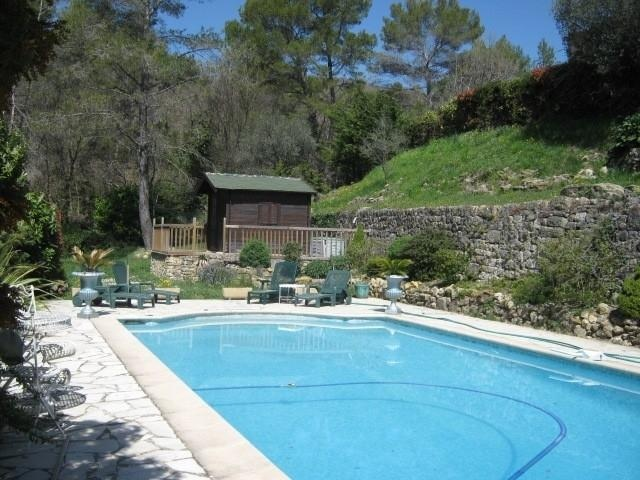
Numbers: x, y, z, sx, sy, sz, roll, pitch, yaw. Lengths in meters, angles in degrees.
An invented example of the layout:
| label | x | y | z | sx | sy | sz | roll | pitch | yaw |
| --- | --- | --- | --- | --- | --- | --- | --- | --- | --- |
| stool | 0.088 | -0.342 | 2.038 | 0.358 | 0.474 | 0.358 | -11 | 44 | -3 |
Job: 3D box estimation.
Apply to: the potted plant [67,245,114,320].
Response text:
| label | x | y | z | sx | sy | sz | roll | pitch | yaw |
| --- | --- | --- | --- | --- | --- | --- | --- | --- | --- |
| potted plant | -5.911 | 1.094 | 15.468 | 1.043 | 1.823 | 1.018 | -1 | -5 | 4 |

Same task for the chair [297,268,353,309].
| label | x | y | z | sx | sy | sz | roll | pitch | yaw |
| --- | --- | --- | --- | --- | --- | --- | --- | --- | --- |
| chair | 0.161 | 1.491 | 18.255 | 0.950 | 0.958 | 1.398 | 0 | 1 | 41 |

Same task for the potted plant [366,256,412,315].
| label | x | y | z | sx | sy | sz | roll | pitch | yaw |
| --- | --- | --- | --- | --- | --- | --- | --- | --- | --- |
| potted plant | 2.266 | 1.429 | 18.496 | 1.173 | 1.652 | 1.178 | 4 | -4 | -21 |
